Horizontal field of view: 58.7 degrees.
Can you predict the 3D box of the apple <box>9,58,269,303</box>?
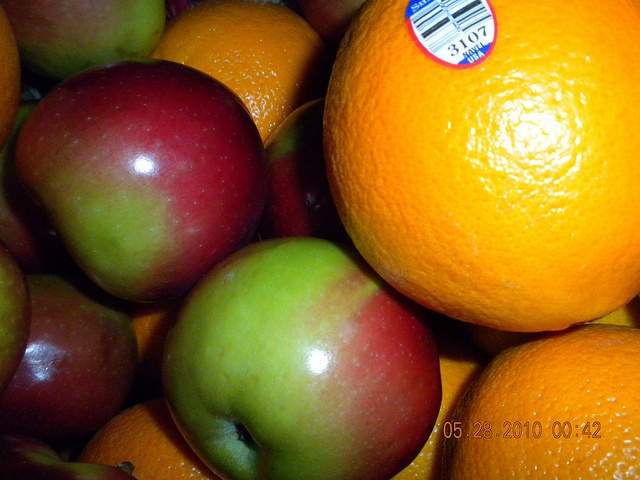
[{"bbox_3d":[-0.267,-0.089,0.858,0.307,0.318,0.353,2,93,-42],"label":"apple"}]
